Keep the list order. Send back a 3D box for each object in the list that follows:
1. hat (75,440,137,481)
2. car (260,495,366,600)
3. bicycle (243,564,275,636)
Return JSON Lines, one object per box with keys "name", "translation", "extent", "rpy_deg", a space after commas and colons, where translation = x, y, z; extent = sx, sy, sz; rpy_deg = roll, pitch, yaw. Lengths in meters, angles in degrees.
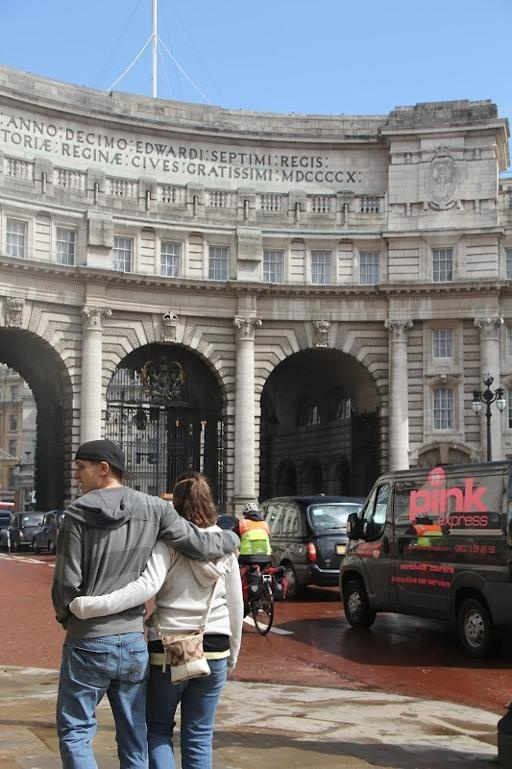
{"name": "hat", "translation": [-0.782, 0.375, 6.120], "extent": [0.262, 0.160, 0.203], "rpy_deg": [10, -4, -2]}
{"name": "car", "translation": [0.893, 2.552, 19.209], "extent": [1.055, 0.952, 2.130], "rpy_deg": [1, -4, -15]}
{"name": "bicycle", "translation": [0.019, 2.659, 14.514], "extent": [0.374, 0.865, 0.713], "rpy_deg": [1, -5, -1]}
